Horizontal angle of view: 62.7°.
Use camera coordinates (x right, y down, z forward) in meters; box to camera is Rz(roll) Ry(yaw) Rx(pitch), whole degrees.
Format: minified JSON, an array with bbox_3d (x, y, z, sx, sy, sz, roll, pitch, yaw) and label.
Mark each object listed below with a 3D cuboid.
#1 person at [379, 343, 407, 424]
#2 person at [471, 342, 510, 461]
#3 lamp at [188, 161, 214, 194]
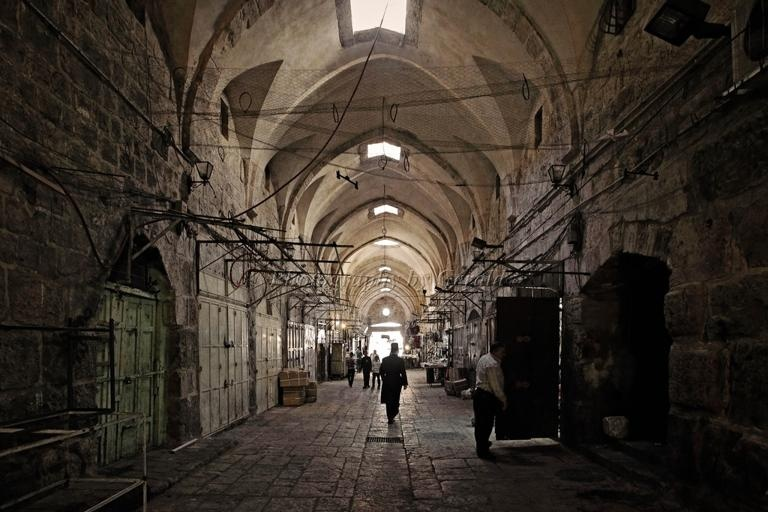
[{"bbox_3d":[0.205,2.610,13.172,0.530,1.707,0.856,1,-14,-1],"label":"person"},{"bbox_3d":[1.650,2.196,9.670,0.319,1.715,0.605,9,-16,-30],"label":"person"},{"bbox_3d":[-3.144,-1.371,10.920,0.482,0.634,0.391,-4,-9,1],"label":"lamp"}]
